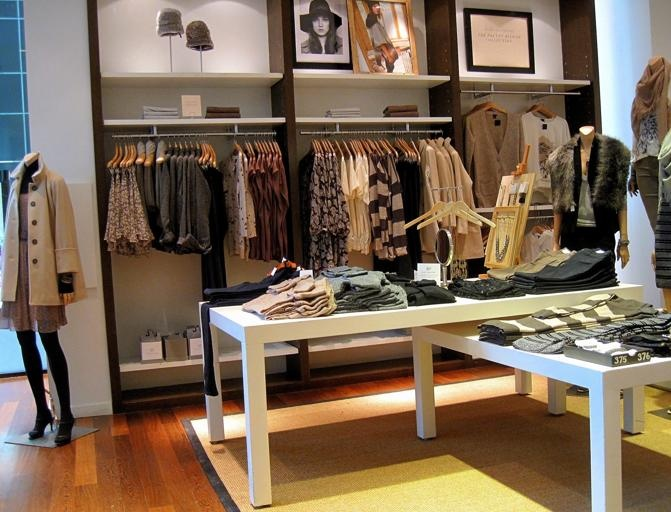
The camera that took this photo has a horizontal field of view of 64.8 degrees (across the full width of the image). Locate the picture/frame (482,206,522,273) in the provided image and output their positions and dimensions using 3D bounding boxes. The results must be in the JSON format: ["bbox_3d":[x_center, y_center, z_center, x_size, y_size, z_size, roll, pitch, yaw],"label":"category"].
[{"bbox_3d":[1.196,-0.123,3.735,0.166,0.440,0.344,-3,4,-14],"label":"picture/frame"}]

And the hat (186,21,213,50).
[{"bbox_3d":[-1.144,-1.821,4.390,0.197,0.232,0.270,-10,31,-31],"label":"hat"}]

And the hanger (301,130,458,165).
[{"bbox_3d":[0.349,-1.018,4.961,1.388,0.338,0.496,-4,5,-18],"label":"hanger"}]

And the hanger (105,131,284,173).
[{"bbox_3d":[-1.292,-0.903,4.539,1.242,0.337,0.596,-5,5,-26],"label":"hanger"}]

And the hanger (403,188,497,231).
[{"bbox_3d":[0.765,-0.297,3.825,0.473,0.178,0.504,0,5,-7],"label":"hanger"}]

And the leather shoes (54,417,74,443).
[{"bbox_3d":[-1.880,1.220,3.660,0.070,0.101,0.223,3,-25,-22],"label":"leather shoes"}]

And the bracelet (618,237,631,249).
[{"bbox_3d":[2.136,-0.091,3.941,0.066,0.062,0.065,1,0,-10],"label":"bracelet"}]

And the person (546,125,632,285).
[{"bbox_3d":[1.906,-0.440,4.031,0.571,1.067,0.234,0,4,30],"label":"person"}]

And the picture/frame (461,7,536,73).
[{"bbox_3d":[1.640,-2.230,5.495,0.678,0.637,0.059,1,-6,-18],"label":"picture/frame"}]
